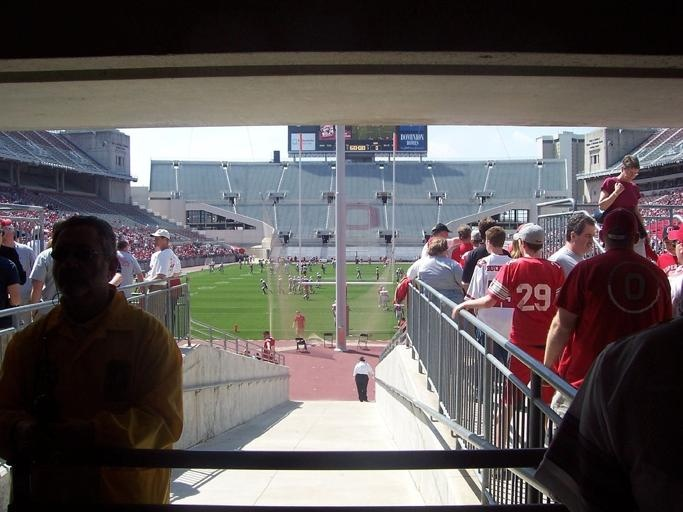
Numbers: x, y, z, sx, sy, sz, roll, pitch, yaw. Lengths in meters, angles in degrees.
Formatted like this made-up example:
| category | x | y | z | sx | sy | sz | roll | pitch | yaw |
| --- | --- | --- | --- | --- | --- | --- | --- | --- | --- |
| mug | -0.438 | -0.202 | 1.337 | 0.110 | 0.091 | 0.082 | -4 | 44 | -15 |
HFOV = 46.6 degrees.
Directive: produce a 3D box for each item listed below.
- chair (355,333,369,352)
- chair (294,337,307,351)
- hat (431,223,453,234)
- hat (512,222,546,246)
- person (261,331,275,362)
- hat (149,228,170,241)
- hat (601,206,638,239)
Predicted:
| category | x | y | z | sx | sy | sz | roll | pitch | yaw |
| --- | --- | --- | --- | --- | --- | --- | --- | --- | --- |
| chair | 0.565 | 2.230 | 20.923 | 0.262 | 0.506 | 0.355 | -2 | -1 | 0 |
| chair | -1.034 | 2.282 | 20.464 | 0.318 | 0.409 | 0.285 | 2 | -5 | -31 |
| hat | 0.969 | -0.264 | 7.525 | 0.204 | 0.114 | 0.148 | -9 | 7 | -14 |
| hat | 1.244 | -0.139 | 5.189 | 0.125 | 0.103 | 0.174 | 2 | 14 | 1 |
| person | -1.553 | 1.925 | 16.717 | 0.199 | 0.728 | 0.656 | 0 | -1 | 12 |
| hat | -1.955 | -0.227 | 8.661 | 0.244 | 0.143 | 0.174 | 5 | -1 | -19 |
| hat | 1.475 | -0.168 | 4.213 | 0.121 | 0.105 | 0.196 | 0 | 24 | 26 |
